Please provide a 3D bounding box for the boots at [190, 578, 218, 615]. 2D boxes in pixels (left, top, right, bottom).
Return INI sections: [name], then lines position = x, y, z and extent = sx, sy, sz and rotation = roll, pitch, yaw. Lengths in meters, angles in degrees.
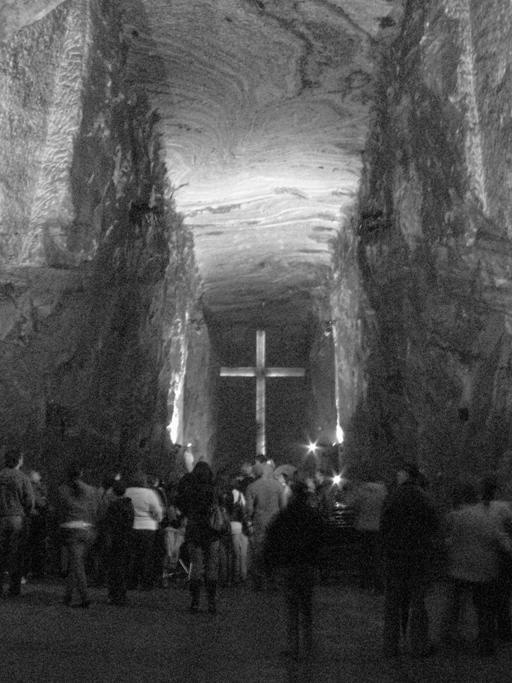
[boots]
position = -0.399, 1.947, 6.656
extent = 0.274, 0.281, 0.334
rotation = 2, -5, -1
